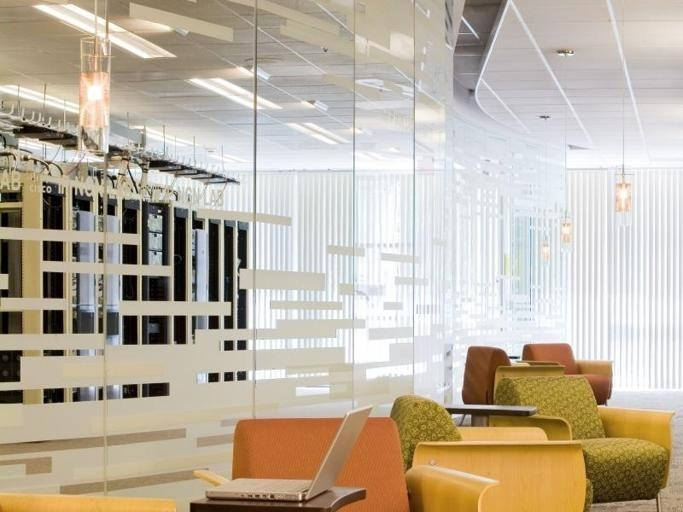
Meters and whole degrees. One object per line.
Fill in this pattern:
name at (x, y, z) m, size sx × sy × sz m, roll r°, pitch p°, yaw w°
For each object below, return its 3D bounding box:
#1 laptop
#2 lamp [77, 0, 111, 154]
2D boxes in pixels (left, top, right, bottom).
laptop at (-0.235, 0.860, 3.773) m, size 0.541 × 0.328 × 0.528 m, roll -1°, pitch -12°, yaw 10°
lamp at (-1.484, -1.094, 4.795) m, size 0.183 × 1.062 × 0.490 m, roll 1°, pitch -6°, yaw -17°
